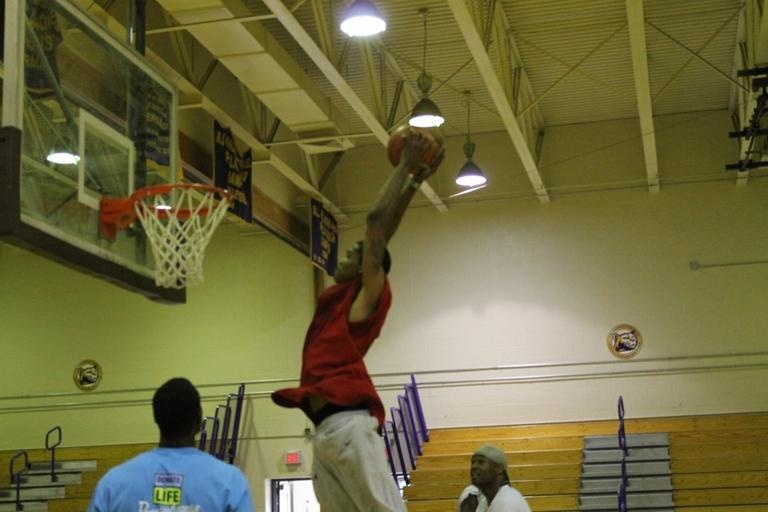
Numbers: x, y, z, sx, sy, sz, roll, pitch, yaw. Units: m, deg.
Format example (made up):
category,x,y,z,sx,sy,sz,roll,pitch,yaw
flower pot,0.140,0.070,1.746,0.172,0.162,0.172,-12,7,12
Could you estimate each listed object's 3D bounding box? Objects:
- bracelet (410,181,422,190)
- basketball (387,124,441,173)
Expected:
category,x,y,z,sx,sy,sz,roll,pitch,yaw
bracelet,0.204,-0.436,4.367,0.050,0.038,0.050,19,11,-23
basketball,0.191,-0.693,4.364,0.275,0.176,0.283,11,-3,4
